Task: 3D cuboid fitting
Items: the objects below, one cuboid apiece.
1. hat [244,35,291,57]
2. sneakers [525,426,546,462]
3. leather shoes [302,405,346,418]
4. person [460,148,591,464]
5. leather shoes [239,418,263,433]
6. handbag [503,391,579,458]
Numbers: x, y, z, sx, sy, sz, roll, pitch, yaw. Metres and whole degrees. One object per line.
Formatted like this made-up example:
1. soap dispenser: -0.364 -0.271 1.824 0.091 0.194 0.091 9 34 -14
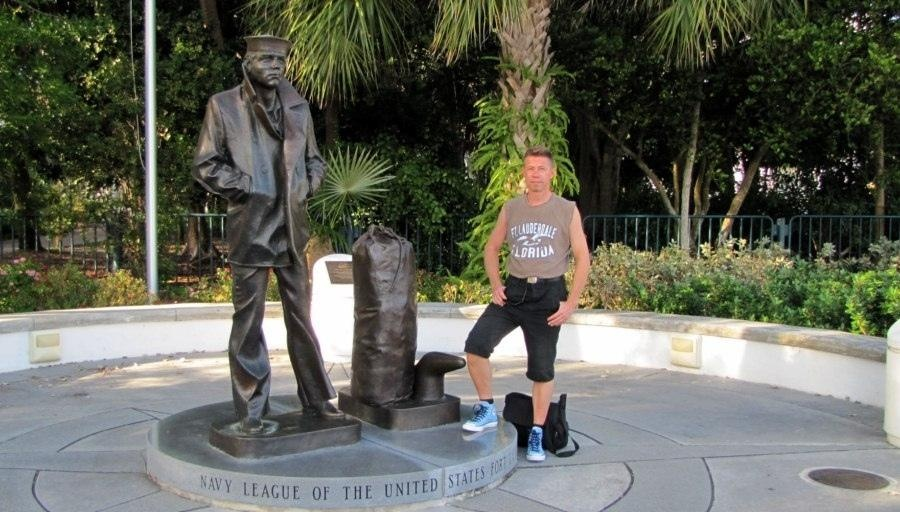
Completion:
1. hat: -2.109 -2.445 8.888 0.325 0.117 0.346 0 -1 45
2. sneakers: 1.062 2.298 9.285 0.248 0.431 0.133 -1 3 -7
3. leather shoes: -1.547 1.899 9.225 0.395 0.154 0.204 -1 -6 7
4. person: 0.955 0.594 9.368 1.456 3.824 0.582 0 3 7
5. leather shoes: -2.333 1.984 8.875 0.201 0.065 0.197 4 -4 -37
6. handbag: 1.039 2.138 9.559 1.018 0.753 0.501 6 -10 -4
